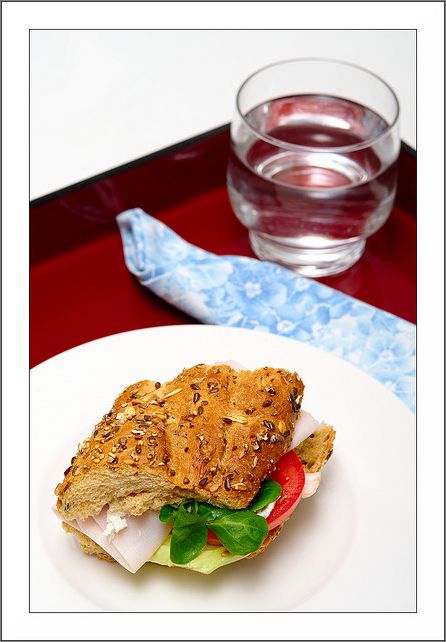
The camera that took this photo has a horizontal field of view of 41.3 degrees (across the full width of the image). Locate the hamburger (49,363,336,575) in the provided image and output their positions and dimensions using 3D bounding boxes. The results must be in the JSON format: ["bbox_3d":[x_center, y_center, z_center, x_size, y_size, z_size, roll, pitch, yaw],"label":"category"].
[{"bbox_3d":[-0.068,0.359,1.568,0.535,0.332,0.627,16,45,25],"label":"hamburger"}]
